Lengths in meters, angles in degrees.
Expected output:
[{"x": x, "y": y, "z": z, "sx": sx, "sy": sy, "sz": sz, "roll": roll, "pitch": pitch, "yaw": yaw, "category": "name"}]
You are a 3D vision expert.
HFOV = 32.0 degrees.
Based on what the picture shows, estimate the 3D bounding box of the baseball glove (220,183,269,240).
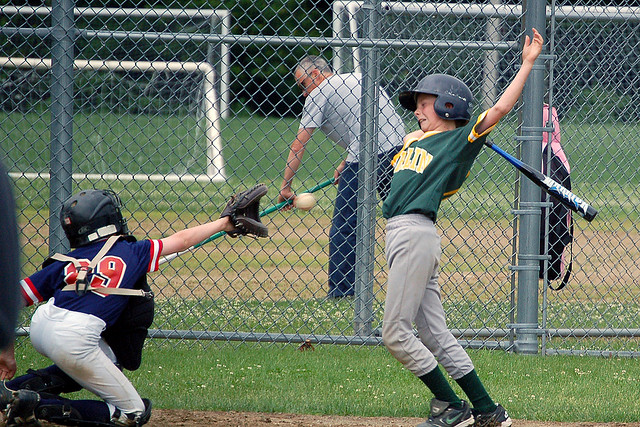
[{"x": -0.584, "y": -0.023, "z": 8.519, "sx": 0.362, "sy": 0.411, "sz": 0.215, "roll": 1, "pitch": 13, "yaw": -7, "category": "baseball glove"}]

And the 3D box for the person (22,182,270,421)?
[{"x": -1.490, "y": 0.683, "z": 8.423, "sx": 1.495, "sy": 1.626, "sz": 0.590, "roll": 5, "pitch": 13, "yaw": 7, "category": "person"}]

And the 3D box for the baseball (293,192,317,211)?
[{"x": -0.159, "y": -0.109, "z": 9.491, "sx": 0.163, "sy": 0.136, "sz": 0.120, "roll": 3, "pitch": -8, "yaw": -35, "category": "baseball"}]
